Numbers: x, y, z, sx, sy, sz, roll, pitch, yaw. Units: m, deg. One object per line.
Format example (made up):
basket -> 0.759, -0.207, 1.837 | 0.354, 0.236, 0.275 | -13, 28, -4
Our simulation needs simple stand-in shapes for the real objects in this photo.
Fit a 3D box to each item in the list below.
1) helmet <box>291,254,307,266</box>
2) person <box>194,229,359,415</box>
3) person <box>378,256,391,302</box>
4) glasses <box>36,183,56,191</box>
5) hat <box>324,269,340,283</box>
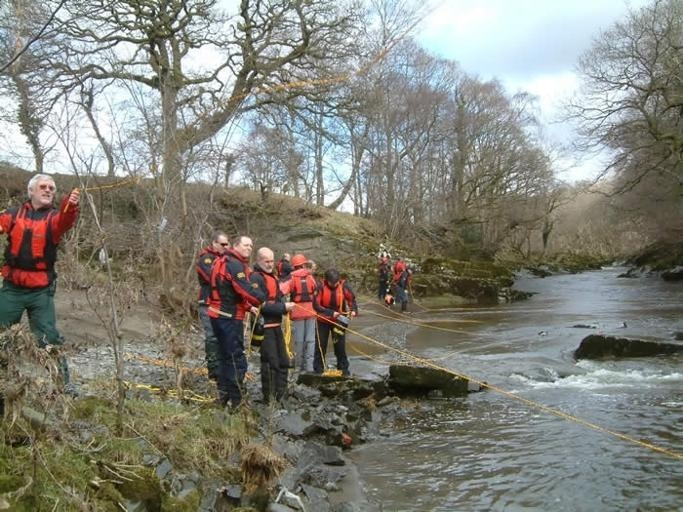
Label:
helmet -> -0.886, 0.084, 12.091 | 0.275, 0.151, 0.264 | -14, -1, -20
person -> -1.423, 0.999, 9.504 | 1.351, 2.684, 1.014 | -7, 8, -24
person -> 1.645, 0.878, 23.232 | 0.532, 0.637, 1.682 | -7, -29, 1
glasses -> -4.088, -0.965, 8.251 | 0.127, 0.063, 0.151 | 7, -4, -35
hat -> -0.179, 0.386, 12.179 | 0.244, 0.277, 0.281 | -9, -3, -7
